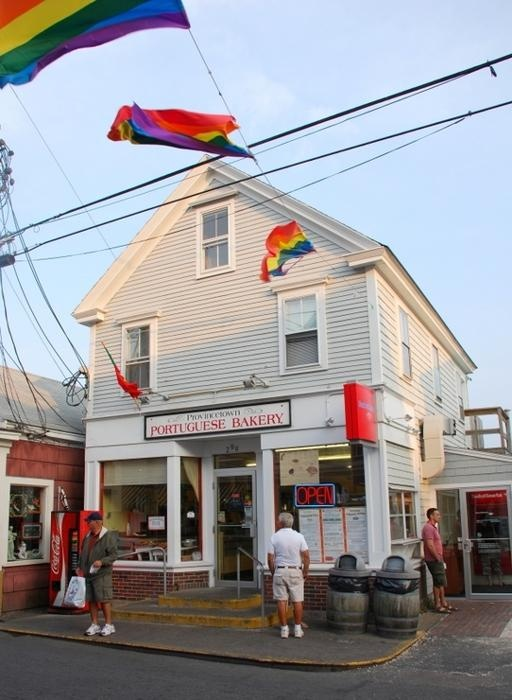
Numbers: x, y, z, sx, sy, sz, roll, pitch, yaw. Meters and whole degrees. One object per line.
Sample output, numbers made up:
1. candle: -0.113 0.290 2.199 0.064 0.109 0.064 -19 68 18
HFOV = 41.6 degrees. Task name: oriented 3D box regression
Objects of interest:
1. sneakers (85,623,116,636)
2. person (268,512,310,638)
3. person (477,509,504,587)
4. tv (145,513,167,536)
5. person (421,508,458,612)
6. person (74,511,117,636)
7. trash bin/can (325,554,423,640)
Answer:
1. sneakers: -2.158 3.947 9.483 0.233 0.115 0.326 -11 -24 24
2. person: 0.431 3.068 9.241 0.540 1.614 0.377 -2 -16 1
3. person: 4.589 3.916 13.226 0.536 1.432 0.149 -6 -16 15
4. tv: -1.984 3.475 13.376 0.508 0.339 0.052 -10 -18 40
5. person: 3.060 3.652 11.733 0.413 1.712 0.677 -12 -19 33
6. person: -2.213 3.148 9.503 0.445 1.668 0.609 8 -18 -30
7. trash bin/can: 1.595 3.419 9.432 0.755 1.062 1.150 11 -20 -39
